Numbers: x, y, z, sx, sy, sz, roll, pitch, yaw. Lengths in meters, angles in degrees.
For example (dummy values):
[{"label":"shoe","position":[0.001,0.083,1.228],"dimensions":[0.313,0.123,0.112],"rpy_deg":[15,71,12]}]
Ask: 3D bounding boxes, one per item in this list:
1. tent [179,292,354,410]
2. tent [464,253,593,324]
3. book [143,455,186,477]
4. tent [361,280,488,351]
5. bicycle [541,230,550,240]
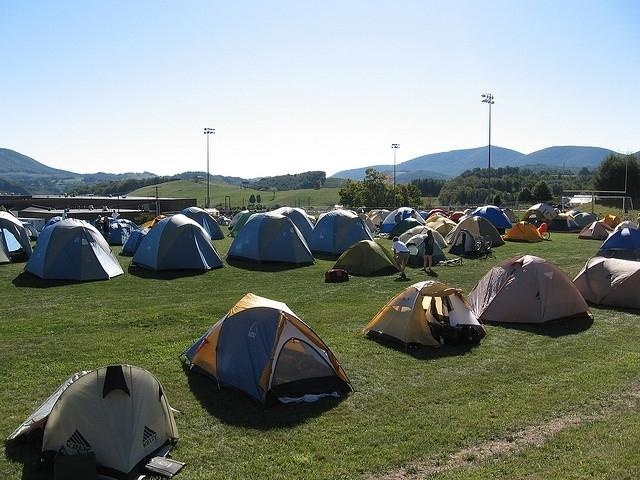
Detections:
[{"label":"tent","position":[-1.413,2.669,11.327],"dimensions":[2.093,1.225,2.917],"rpy_deg":[-5,9,-40]},{"label":"tent","position":[6.698,1.791,15.427],"dimensions":[2.976,1.553,2.542],"rpy_deg":[-5,6,-35]},{"label":"book","position":[-2.788,4.050,8.505],"dimensions":[0.395,0.129,0.303],"rpy_deg":[10,13,19]},{"label":"tent","position":[3.217,2.310,14.105],"dimensions":[2.334,1.219,2.371],"rpy_deg":[-5,7,-19]},{"label":"bicycle","position":[18.622,-0.358,39.579],"dimensions":[0.757,0.457,0.794],"rpy_deg":[-2,14,13]}]
